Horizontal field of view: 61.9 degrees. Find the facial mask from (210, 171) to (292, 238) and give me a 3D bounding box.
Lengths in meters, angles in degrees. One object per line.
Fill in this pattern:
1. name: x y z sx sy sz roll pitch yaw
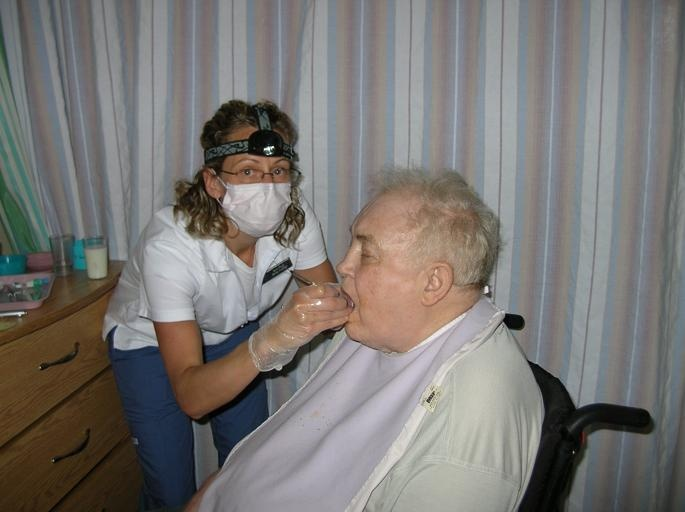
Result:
1. facial mask: -0.320 -0.201 2.066 0.185 0.219 0.206 12 13 32
